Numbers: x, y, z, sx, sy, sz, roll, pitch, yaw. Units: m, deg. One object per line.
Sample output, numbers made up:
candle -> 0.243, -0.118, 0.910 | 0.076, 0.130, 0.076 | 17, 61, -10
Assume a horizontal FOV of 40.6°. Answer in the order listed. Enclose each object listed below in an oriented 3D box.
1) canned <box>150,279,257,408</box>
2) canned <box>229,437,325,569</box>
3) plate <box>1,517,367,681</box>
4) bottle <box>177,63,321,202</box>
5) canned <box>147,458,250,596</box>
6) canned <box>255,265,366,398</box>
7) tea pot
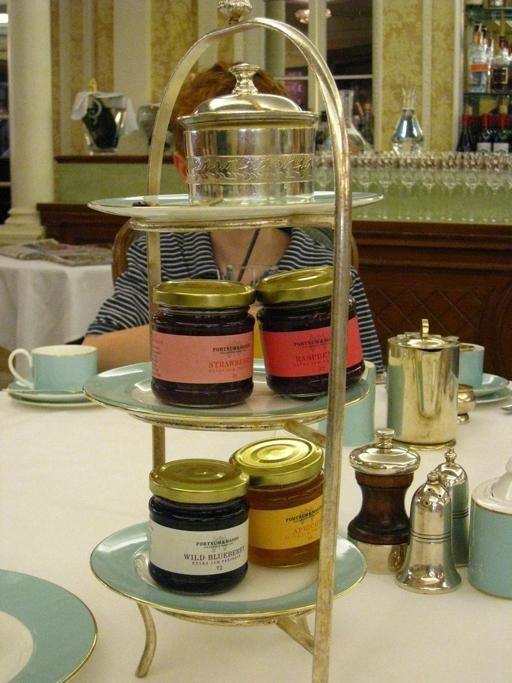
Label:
canned -> -0.028, 0.003, 0.426 | 0.072, 0.064, 0.066 | 0, 7, 0
canned -> 0.011, 0.103, 0.454 | 0.066, 0.060, 0.060 | 3, 12, 11
plate -> -0.028, 0.127, 0.395 | 0.113, 0.041, 0.109 | 2, 6, 18
bottle -> -0.003, -0.125, 0.411 | 0.089, 0.072, 0.078 | -3, 21, -1
canned -> -0.031, 0.108, 0.418 | 0.070, 0.063, 0.067 | 5, 12, 22
canned -> 0.016, -0.009, 0.458 | 0.082, 0.074, 0.078 | 0, 16, 29
tea pot -> 0.195, 0.051, 0.837 | 0.098, 0.140, 0.092 | 2, 9, 0
